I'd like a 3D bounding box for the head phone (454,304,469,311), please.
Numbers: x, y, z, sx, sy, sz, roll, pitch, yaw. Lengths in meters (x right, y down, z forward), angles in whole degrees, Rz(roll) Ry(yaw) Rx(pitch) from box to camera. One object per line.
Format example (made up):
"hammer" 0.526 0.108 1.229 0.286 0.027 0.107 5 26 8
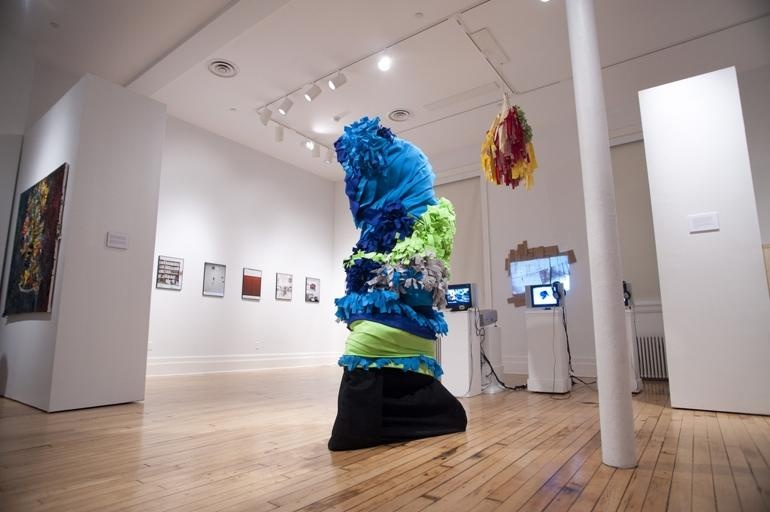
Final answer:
"head phone" 0.896 0.592 5.184 0.160 0.077 0.575 -2 -7 11

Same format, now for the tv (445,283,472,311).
"tv" 0.904 0.487 5.347 0.322 0.306 0.602 -2 -7 10

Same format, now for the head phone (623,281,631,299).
"head phone" 2.831 0.405 5.202 0.041 0.183 0.339 -5 -8 31

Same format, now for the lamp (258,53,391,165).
"lamp" -1.205 -2.183 7.206 1.491 0.651 2.874 3 -7 -25
